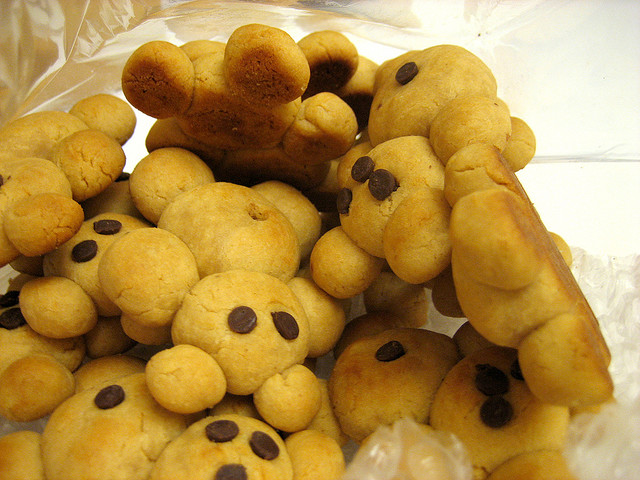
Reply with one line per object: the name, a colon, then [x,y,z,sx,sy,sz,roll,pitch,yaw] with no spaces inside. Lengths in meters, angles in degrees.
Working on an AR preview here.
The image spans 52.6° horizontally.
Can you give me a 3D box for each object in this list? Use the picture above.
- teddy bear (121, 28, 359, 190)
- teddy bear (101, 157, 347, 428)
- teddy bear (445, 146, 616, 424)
teddy bear: [-0.192,-0.408,1.789,0.548,0.505,0.174,8,54,-3]
teddy bear: [-0.257,0.074,1.699,0.675,0.254,0.725,20,58,-24]
teddy bear: [0.441,0.054,1.438,0.172,0.458,0.578,-21,49,2]
